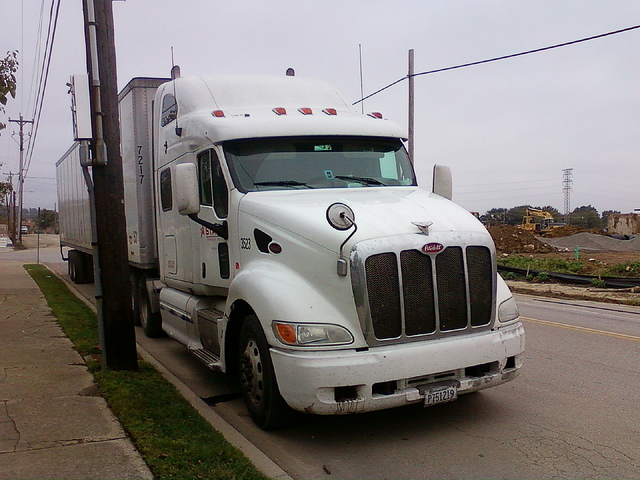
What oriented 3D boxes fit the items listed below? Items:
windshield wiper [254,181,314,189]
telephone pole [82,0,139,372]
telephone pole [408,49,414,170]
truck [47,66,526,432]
[{"bbox_3d":[-0.450,-0.660,6.047,0.673,0.093,0.062,0,2,-2],"label":"windshield wiper"},{"bbox_3d":[-2.838,-0.712,6.957,0.566,5.085,0.284,-1,2,-21],"label":"telephone pole"},{"bbox_3d":[4.360,-6.519,24.329,0.195,4.821,1.026,1,2,15],"label":"telephone pole"},{"bbox_3d":[-0.231,-0.185,6.201,4.487,4.443,2.152,2,3,43],"label":"truck"}]
